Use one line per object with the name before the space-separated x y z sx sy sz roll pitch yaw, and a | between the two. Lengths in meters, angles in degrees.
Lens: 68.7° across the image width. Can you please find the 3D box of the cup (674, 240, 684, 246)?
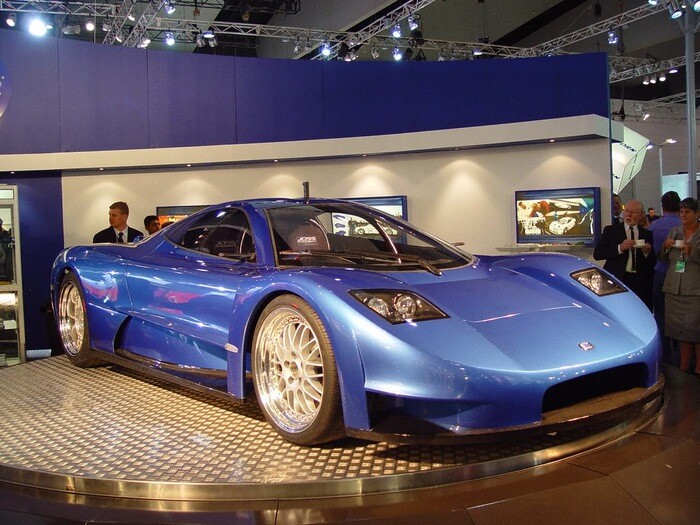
cup | 2.823 -0.168 4.403 0.055 0.043 0.043 -3 -2 18

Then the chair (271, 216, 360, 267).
chair | -0.217 -0.113 3.062 0.363 0.356 0.430 3 -8 -34

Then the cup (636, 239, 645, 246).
cup | 2.721 -0.182 4.818 0.062 0.063 0.064 1 -1 0

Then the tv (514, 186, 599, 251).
tv | 3.069 -0.665 7.490 0.971 0.990 0.070 1 9 16

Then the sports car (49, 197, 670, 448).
sports car | -0.292 0.322 3.025 3.024 0.942 1.580 0 0 43

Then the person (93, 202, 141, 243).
person | -3.248 -0.565 7.110 0.812 0.655 0.364 2 3 10
